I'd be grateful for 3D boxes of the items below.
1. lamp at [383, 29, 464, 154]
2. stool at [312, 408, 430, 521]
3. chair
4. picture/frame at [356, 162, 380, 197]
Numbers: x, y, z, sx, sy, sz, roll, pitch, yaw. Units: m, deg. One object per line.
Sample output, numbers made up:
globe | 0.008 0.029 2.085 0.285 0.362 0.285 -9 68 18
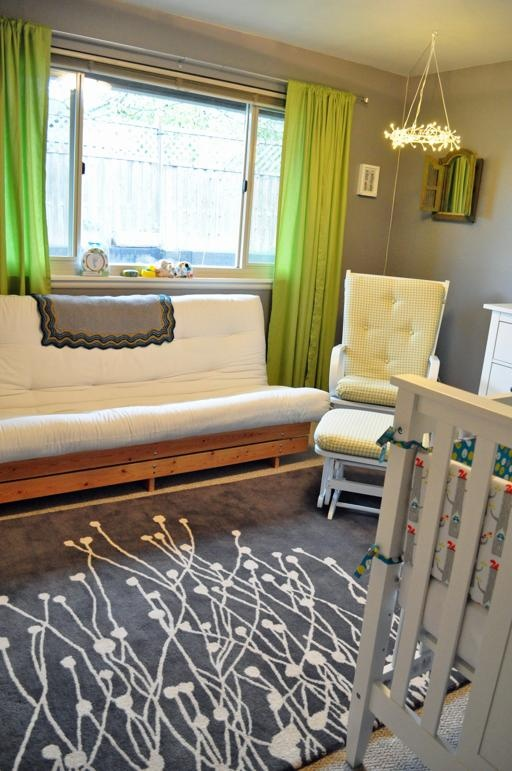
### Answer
lamp | 1.074 -1.859 3.456 0.441 0.711 0.453 -1 21 -9
stool | 0.517 0.405 2.648 0.416 0.405 0.413 10 10 21
chair | 0.751 -0.256 3.177 0.591 0.738 0.565 8 12 17
picture/frame | 0.812 -1.514 4.032 0.231 0.284 0.028 -7 16 -37
